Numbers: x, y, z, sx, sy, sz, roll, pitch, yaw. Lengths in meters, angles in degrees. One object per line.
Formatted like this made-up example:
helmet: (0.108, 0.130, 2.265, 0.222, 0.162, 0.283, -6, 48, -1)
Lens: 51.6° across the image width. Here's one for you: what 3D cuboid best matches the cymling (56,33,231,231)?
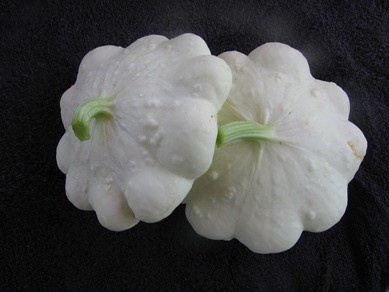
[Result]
cymling: (-0.247, -0.088, 1.332, 0.560, 0.313, 0.714, -9, 66, 9)
